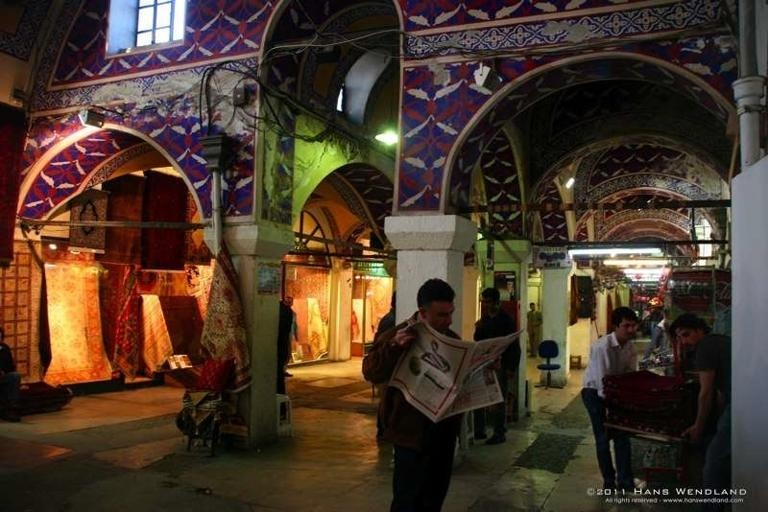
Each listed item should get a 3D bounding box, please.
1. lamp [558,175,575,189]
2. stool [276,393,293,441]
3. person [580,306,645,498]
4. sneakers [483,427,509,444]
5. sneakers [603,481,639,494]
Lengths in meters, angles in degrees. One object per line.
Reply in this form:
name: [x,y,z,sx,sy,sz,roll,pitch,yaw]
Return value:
lamp: [4.059,-1.647,14.739,0.393,0.389,0.699,-3,7,17]
stool: [-1.549,2.379,10.180,0.285,0.406,0.288,1,3,39]
person: [2.755,1.758,8.091,0.625,2.278,0.784,2,2,21]
sneakers: [1.738,2.769,10.130,0.395,0.266,0.144,2,-5,-13]
sneakers: [2.824,2.777,7.961,0.191,0.152,0.442,17,-18,-40]
